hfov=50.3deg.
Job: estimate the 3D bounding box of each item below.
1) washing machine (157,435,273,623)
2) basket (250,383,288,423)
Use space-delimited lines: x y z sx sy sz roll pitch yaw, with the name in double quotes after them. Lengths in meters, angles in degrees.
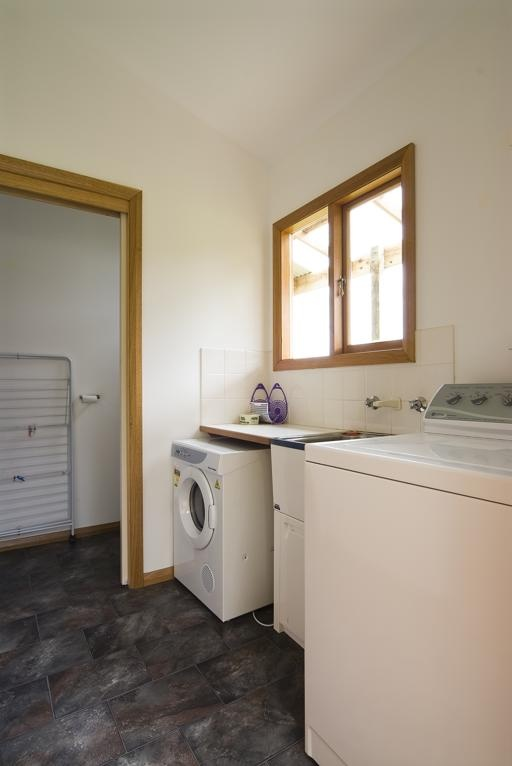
-0.155 0.590 2.709 0.504 1.061 0.715 2 -4 -26 "washing machine"
0.066 0.117 3.017 0.178 0.212 0.316 -2 4 -19 "basket"
